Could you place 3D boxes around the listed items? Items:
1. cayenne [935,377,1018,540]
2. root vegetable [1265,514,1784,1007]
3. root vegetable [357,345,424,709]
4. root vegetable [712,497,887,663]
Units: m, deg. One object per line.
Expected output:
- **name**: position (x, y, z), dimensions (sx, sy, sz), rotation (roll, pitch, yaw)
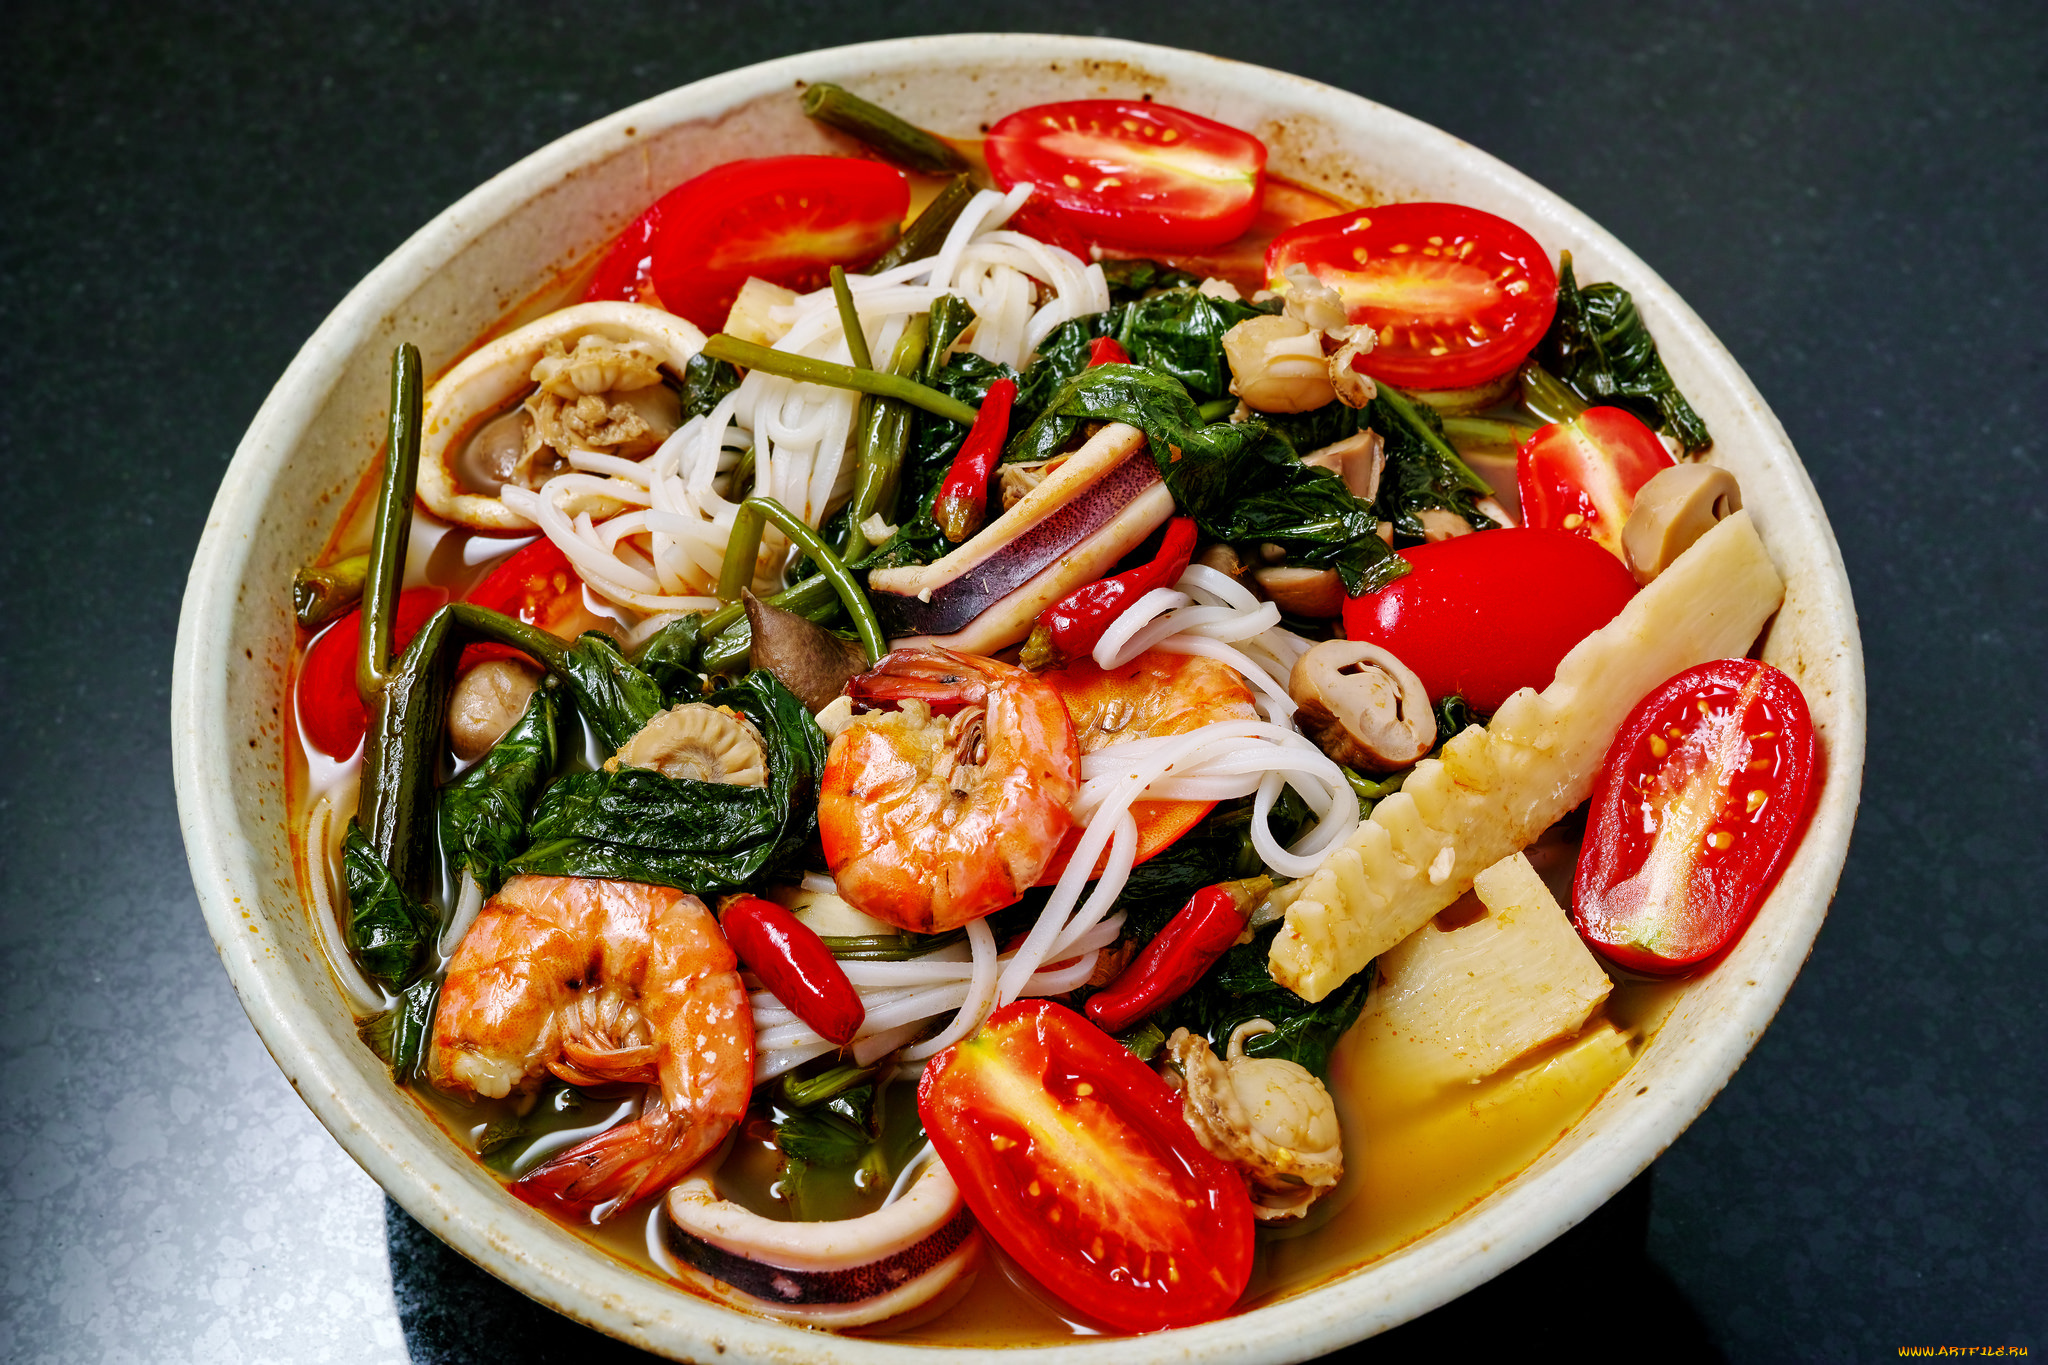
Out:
- **cayenne**: position (-0.115, -0.544, 4.934), dimensions (0.130, 0.453, 0.122), rotation (-10, -37, 44)
- **root vegetable**: position (1.218, 0.234, 4.666), dimensions (0.231, 1.219, 0.393), rotation (44, 1, 43)
- **root vegetable**: position (-1.573, -0.401, 4.928), dimensions (0.105, 1.000, 0.096), rotation (7, -15, -19)
- **root vegetable**: position (-0.535, -0.288, 4.836), dimensions (0.330, 0.382, 0.538), rotation (-11, 23, -27)
